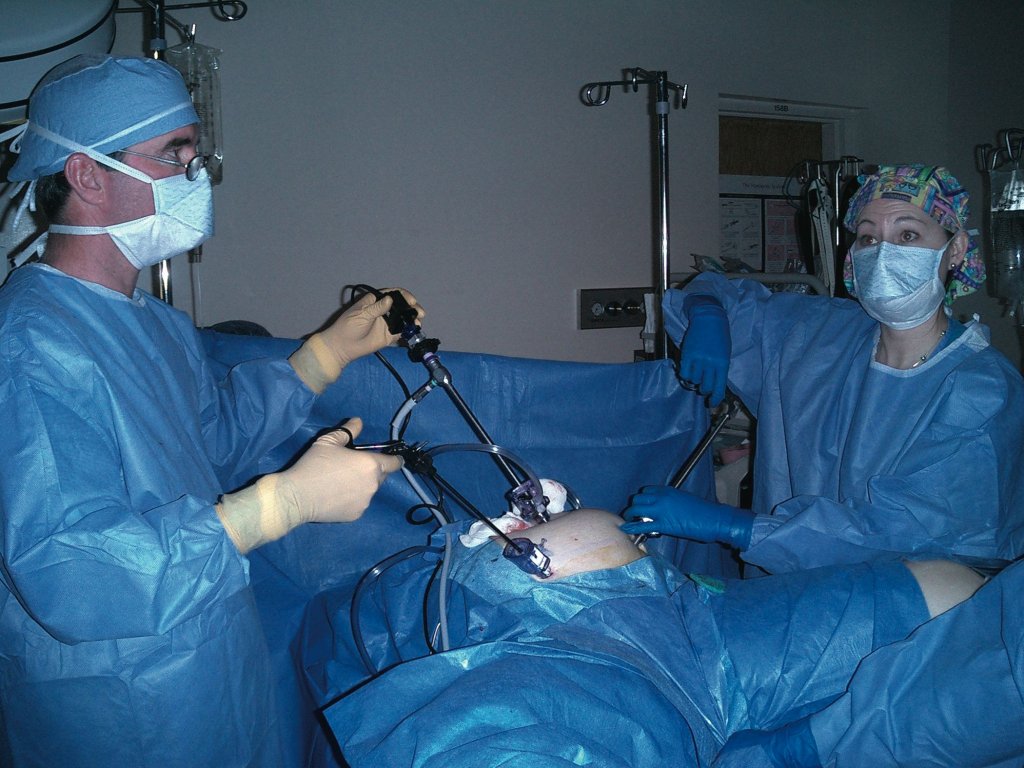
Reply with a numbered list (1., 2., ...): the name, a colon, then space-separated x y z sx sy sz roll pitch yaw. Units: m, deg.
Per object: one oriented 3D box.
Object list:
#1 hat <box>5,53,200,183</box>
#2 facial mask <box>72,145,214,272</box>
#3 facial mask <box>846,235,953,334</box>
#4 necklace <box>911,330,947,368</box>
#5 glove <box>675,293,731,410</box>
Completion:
1. hat: -0.835 -0.541 1.919 0.322 0.165 0.236 -28 52 -15
2. facial mask: -0.753 -0.353 1.888 0.237 0.191 0.198 0 14 -11
3. facial mask: 0.982 -0.247 2.295 0.215 0.186 0.208 -12 12 -40
4. necklace: 1.048 -0.081 2.269 0.032 0.100 0.071 26 -2 -9
5. glove: 0.524 -0.084 2.539 0.161 0.285 0.093 10 -12 -14
